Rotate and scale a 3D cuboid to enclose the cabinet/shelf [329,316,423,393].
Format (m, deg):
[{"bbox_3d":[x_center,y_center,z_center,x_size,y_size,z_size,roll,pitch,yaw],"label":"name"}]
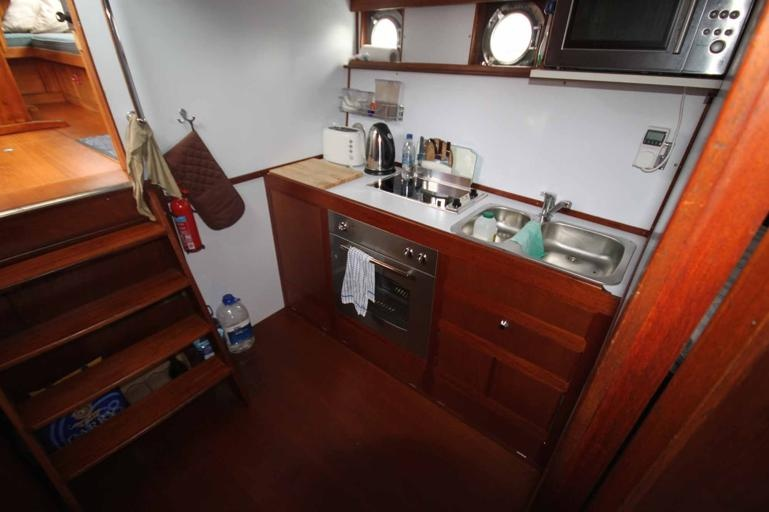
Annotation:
[{"bbox_3d":[-0.143,0.758,3.160,0.636,0.390,0.379,5,28,24],"label":"cabinet/shelf"}]

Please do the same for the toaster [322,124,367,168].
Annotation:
[{"bbox_3d":[-0.278,-0.767,3.247,0.318,0.225,0.184,10,23,20],"label":"toaster"}]

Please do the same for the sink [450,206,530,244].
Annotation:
[{"bbox_3d":[0.605,-0.196,2.653,0.255,0.131,0.368,34,55,31],"label":"sink"}]

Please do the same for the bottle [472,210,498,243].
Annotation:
[{"bbox_3d":[0.538,-0.159,2.517,0.100,0.181,0.099,-4,45,4],"label":"bottle"}]

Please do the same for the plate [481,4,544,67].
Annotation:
[{"bbox_3d":[0.757,-1.292,2.724,0.336,0.338,0.069,20,30,35],"label":"plate"}]

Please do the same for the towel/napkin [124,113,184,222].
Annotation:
[{"bbox_3d":[-1.209,-0.473,2.354,0.049,0.477,0.194,21,33,24],"label":"towel/napkin"}]

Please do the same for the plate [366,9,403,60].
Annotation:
[{"bbox_3d":[0.000,-1.508,3.146,0.111,0.295,0.332,-14,34,-29],"label":"plate"}]

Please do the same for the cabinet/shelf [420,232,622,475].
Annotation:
[{"bbox_3d":[0.808,0.432,2.771,0.951,1.215,0.785,17,34,21],"label":"cabinet/shelf"}]

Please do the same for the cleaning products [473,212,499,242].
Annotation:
[{"bbox_3d":[0.543,-0.158,2.514,0.091,0.165,0.090,-38,52,-25],"label":"cleaning products"}]

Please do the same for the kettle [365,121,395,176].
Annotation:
[{"bbox_3d":[-0.021,-0.740,3.188,0.268,0.310,0.216,24,38,39],"label":"kettle"}]

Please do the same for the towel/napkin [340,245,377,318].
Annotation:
[{"bbox_3d":[-0.156,0.139,2.854,0.279,0.463,0.083,34,46,30],"label":"towel/napkin"}]

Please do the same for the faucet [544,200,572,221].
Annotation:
[{"bbox_3d":[0.990,-0.259,2.652,0.226,0.102,0.062,-23,39,-40],"label":"faucet"}]

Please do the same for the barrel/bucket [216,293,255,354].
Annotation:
[{"bbox_3d":[-1.005,0.416,3.069,0.225,0.392,0.224,0,33,0],"label":"barrel/bucket"}]

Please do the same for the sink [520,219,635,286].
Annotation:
[{"bbox_3d":[1.102,-0.029,2.583,0.436,0.157,0.365,21,56,28],"label":"sink"}]

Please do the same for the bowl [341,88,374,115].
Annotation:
[{"bbox_3d":[-0.201,-1.080,3.231,0.222,0.171,0.074,10,24,14],"label":"bowl"}]

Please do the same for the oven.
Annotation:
[{"bbox_3d":[0.103,0.097,3.055,0.780,0.887,0.627,25,40,27],"label":"oven"}]
